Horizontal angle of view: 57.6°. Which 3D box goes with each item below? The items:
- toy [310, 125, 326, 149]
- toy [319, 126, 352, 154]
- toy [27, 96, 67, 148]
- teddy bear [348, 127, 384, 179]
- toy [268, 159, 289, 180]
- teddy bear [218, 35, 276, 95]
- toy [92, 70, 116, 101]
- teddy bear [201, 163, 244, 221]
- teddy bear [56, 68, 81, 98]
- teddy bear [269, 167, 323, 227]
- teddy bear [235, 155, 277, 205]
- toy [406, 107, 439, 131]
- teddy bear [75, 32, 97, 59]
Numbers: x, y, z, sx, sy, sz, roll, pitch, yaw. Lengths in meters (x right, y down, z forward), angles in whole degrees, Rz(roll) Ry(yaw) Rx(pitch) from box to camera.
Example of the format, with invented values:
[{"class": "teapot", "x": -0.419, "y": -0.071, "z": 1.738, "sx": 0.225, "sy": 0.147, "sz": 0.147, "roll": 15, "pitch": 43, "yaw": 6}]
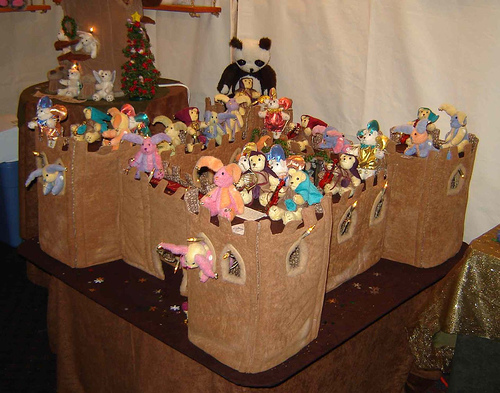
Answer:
[{"class": "toy", "x": 0.497, "y": -0.445, "z": 3.386, "sx": 0.051, "sy": 0.159, "sz": 0.108, "roll": -3, "pitch": 7, "yaw": -43}, {"class": "toy", "x": 0.605, "y": -0.458, "z": 3.277, "sx": 0.212, "sy": 0.084, "sz": 0.203, "roll": 18, "pitch": 10, "yaw": -4}, {"class": "toy", "x": -1.268, "y": -0.451, "z": 2.845, "sx": 0.201, "sy": 0.327, "sz": 0.194, "roll": -3, "pitch": 8, "yaw": -22}, {"class": "teddy bear", "x": 0.732, "y": -0.282, "z": 2.884, "sx": 0.266, "sy": 0.357, "sz": 0.189, "roll": 8, "pitch": 16, "yaw": 44}, {"class": "toy", "x": 0.172, "y": -0.171, "z": 2.809, "sx": 0.121, "sy": 0.102, "sz": 0.090, "roll": -13, "pitch": 10, "yaw": -43}, {"class": "teddy bear", "x": -0.018, "y": -1.232, "z": 4.406, "sx": 0.571, "sy": 0.639, "sz": 0.379, "roll": 5, "pitch": 40, "yaw": 1}, {"class": "toy", "x": -1.315, "y": -0.984, "z": 4.063, "sx": 0.217, "sy": 0.310, "sz": 0.187, "roll": 3, "pitch": 35, "yaw": -5}, {"class": "teddy bear", "x": -0.158, "y": -0.034, "z": 2.422, "sx": 0.229, "sy": 0.324, "sz": 0.222, "roll": 4, "pitch": 17, "yaw": 10}, {"class": "teddy bear", "x": -1.672, "y": -1.046, "z": 4.188, "sx": 0.222, "sy": 0.249, "sz": 0.223, "roll": -7, "pitch": 21, "yaw": -20}, {"class": "teddy bear", "x": 0.221, "y": -0.009, "z": 2.620, "sx": 0.260, "sy": 0.283, "sz": 0.324, "roll": -14, "pitch": 25, "yaw": -36}, {"class": "teddy bear", "x": 0.039, "y": -0.103, "z": 2.922, "sx": 0.283, "sy": 0.326, "sz": 0.221, "roll": 2, "pitch": 19, "yaw": 26}, {"class": "toy", "x": 1.080, "y": -0.498, "z": 2.869, "sx": 0.152, "sy": 0.106, "sz": 0.160, "roll": -3, "pitch": 20, "yaw": -4}, {"class": "teddy bear", "x": -1.506, "y": -1.388, "z": 4.188, "sx": 0.174, "sy": 0.151, "sz": 0.136, "roll": 32, "pitch": 61, "yaw": 6}]
